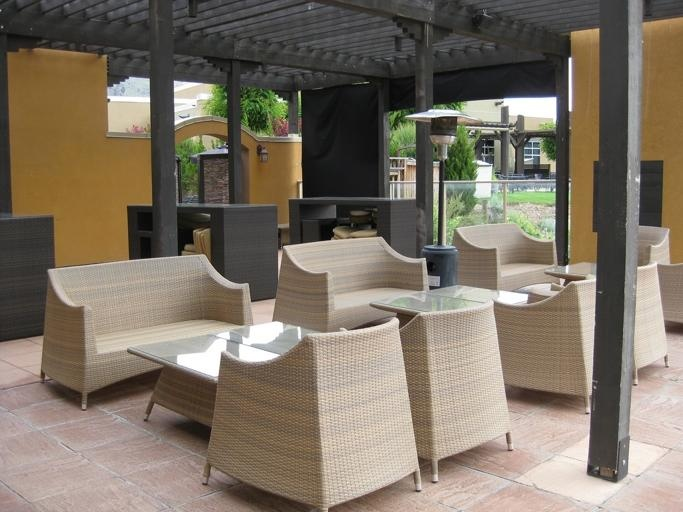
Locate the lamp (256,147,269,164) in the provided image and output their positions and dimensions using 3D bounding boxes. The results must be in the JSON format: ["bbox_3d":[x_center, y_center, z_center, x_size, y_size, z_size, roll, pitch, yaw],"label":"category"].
[{"bbox_3d":[-1.918,-2.506,13.638,0.178,0.418,0.363,6,11,33],"label":"lamp"}]
